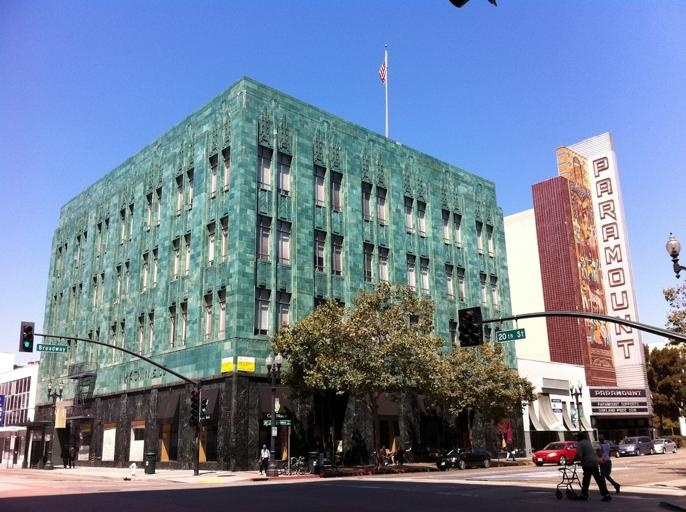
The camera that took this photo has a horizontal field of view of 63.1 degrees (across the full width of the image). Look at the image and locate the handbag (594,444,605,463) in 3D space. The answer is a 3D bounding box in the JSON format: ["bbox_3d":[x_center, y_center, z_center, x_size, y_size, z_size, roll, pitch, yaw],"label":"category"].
[{"bbox_3d":[10.563,8.133,23.001,0.319,0.980,0.668,-8,6,19],"label":"handbag"}]

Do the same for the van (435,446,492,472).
[{"bbox_3d":[9.661,16.584,45.651,4.504,1.667,2.075,20,-33,-38],"label":"van"}]

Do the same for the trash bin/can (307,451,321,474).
[{"bbox_3d":[-1.922,14.624,39.532,0.700,1.523,1.547,-6,-21,5],"label":"trash bin/can"}]

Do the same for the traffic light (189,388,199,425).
[{"bbox_3d":[-10.802,11.125,41.247,0.563,2.383,0.553,3,-21,-18],"label":"traffic light"}]

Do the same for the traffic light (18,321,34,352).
[{"bbox_3d":[-19.846,5.106,35.324,0.633,1.765,0.966,4,-22,-20],"label":"traffic light"}]

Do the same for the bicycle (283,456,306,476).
[{"bbox_3d":[-3.514,15.313,40.880,1.871,1.338,1.022,-1,-10,-5],"label":"bicycle"}]
